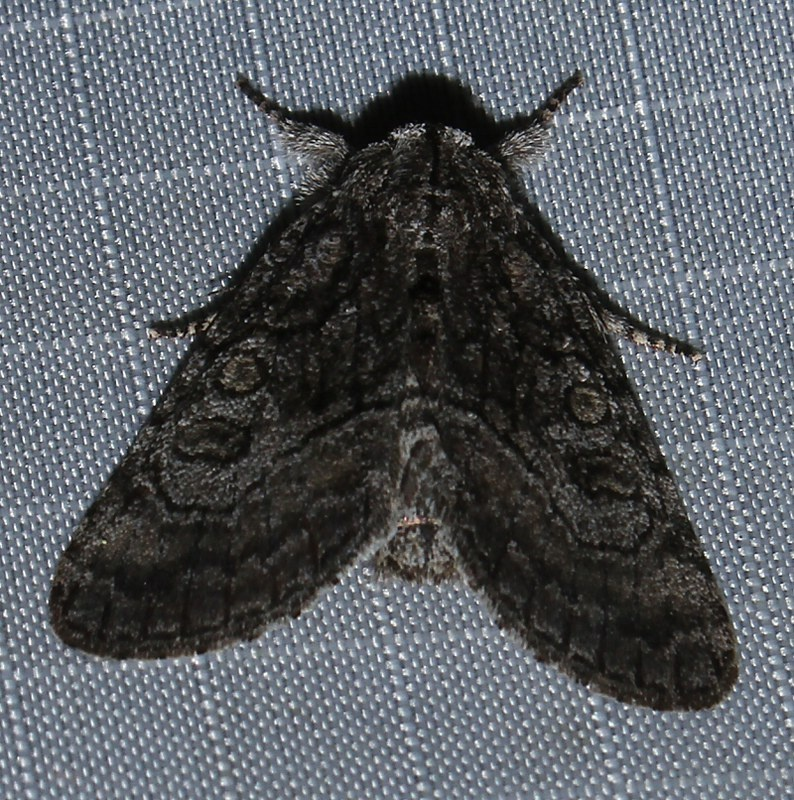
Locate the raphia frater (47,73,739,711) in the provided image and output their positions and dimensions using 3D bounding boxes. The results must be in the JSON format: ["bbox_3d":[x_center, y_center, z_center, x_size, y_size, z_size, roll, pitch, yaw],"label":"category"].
[{"bbox_3d":[0.052,0.005,2.395,1.550,0.363,1.238,1,90,1],"label":"raphia frater"}]
